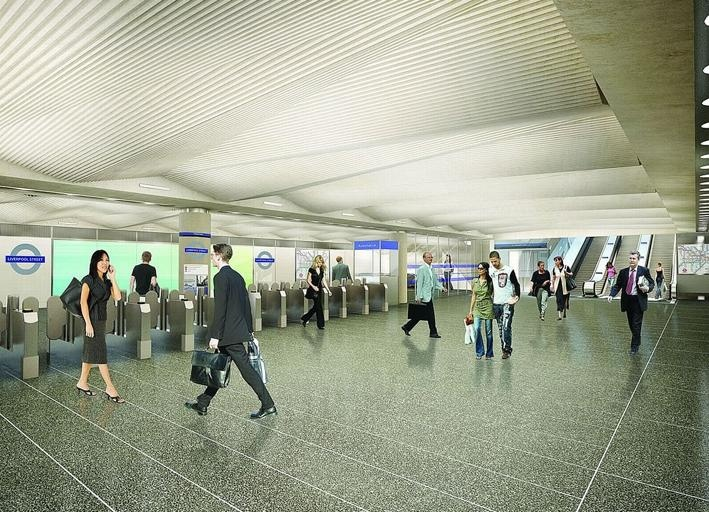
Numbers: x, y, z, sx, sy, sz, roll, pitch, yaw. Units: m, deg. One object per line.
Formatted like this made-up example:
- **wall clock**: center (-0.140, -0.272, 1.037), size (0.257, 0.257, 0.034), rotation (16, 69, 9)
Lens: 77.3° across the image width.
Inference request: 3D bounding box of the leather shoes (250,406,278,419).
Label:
- **leather shoes**: center (-1.170, 1.991, 5.645), size (0.382, 0.144, 0.129), rotation (4, -9, -24)

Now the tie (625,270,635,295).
- **tie**: center (5.510, 0.518, 8.812), size (0.145, 0.490, 0.237), rotation (2, 3, 27)

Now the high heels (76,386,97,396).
- **high heels**: center (-3.947, 1.988, 6.501), size (0.380, 0.089, 0.131), rotation (8, 0, 7)

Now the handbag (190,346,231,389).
- **handbag**: center (-1.857, 1.371, 5.519), size (0.155, 0.479, 0.562), rotation (-11, -27, 38)

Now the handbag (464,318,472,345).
- **handbag**: center (2.137, 1.396, 8.279), size (0.108, 0.413, 0.233), rotation (2, 3, 28)

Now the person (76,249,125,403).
- **person**: center (-3.736, 0.973, 6.440), size (0.607, 2.116, 1.036), rotation (-1, 3, -31)

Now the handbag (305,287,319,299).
- **handbag**: center (-1.170, 1.018, 12.088), size (0.377, 0.357, 0.199), rotation (4, -13, 12)

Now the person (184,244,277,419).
- **person**: center (-1.444, 0.955, 5.592), size (0.756, 2.195, 0.437), rotation (-1, 3, -17)

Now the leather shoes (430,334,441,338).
- **leather shoes**: center (1.986, 1.974, 10.901), size (0.250, 0.087, 0.086), rotation (-2, -6, 13)

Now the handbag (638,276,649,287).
- **handbag**: center (5.619, 0.498, 8.536), size (0.207, 0.199, 0.142), rotation (0, 2, 1)

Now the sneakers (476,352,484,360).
- **sneakers**: center (2.425, 1.931, 8.541), size (0.084, 0.093, 0.240), rotation (-3, -10, 27)

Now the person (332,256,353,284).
- **person**: center (-0.480, 0.569, 15.588), size (0.469, 0.735, 0.884), rotation (1, 2, 8)

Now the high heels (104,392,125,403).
- **high heels**: center (-3.400, 2.011, 6.250), size (0.313, 0.080, 0.116), rotation (8, 0, 19)

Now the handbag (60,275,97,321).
- **handbag**: center (-3.928, 0.591, 6.176), size (0.433, 0.527, 0.175), rotation (1, 3, 26)

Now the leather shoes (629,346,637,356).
- **leather shoes**: center (5.658, 1.925, 8.975), size (0.172, 0.167, 0.168), rotation (0, 4, 12)

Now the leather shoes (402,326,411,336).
- **leather shoes**: center (1.281, 1.909, 11.153), size (0.149, 0.116, 0.320), rotation (-14, -36, 14)

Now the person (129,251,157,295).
- **person**: center (-4.990, 0.388, 10.366), size (0.532, 0.969, 1.622), rotation (-1, 2, -26)
